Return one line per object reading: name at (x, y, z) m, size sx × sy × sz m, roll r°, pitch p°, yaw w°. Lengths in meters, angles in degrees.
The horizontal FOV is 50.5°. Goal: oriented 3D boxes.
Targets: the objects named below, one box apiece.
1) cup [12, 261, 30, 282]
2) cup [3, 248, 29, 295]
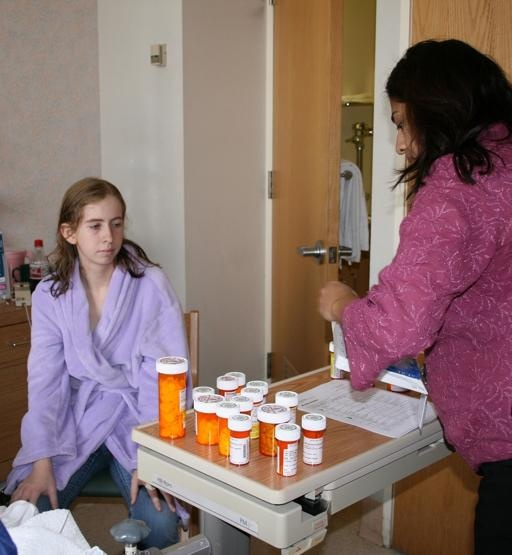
cup at (-1.019, -0.019, 2.368) m, size 0.088 × 0.096 × 0.055 m, roll -1°, pitch 8°, yaw -18°
cup at (-1.062, -0.034, 2.382) m, size 0.112 × 0.199 × 0.155 m, roll -6°, pitch 12°, yaw -38°
